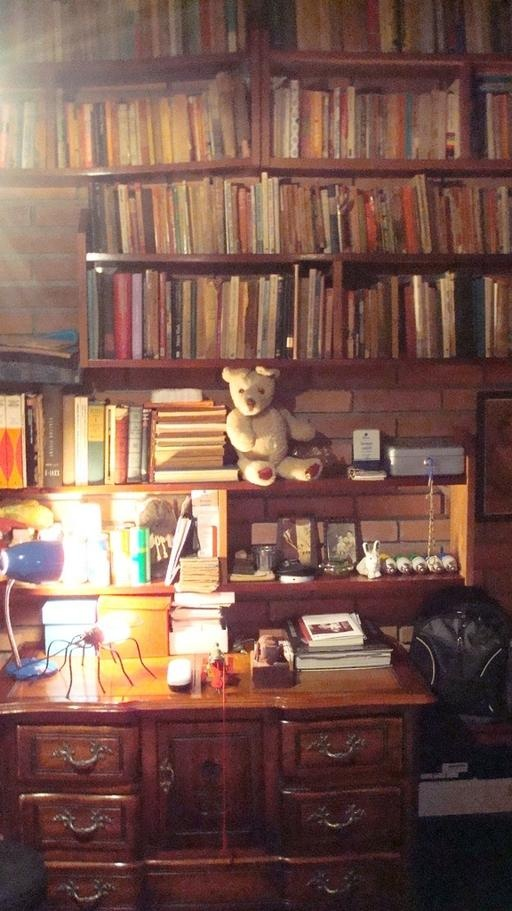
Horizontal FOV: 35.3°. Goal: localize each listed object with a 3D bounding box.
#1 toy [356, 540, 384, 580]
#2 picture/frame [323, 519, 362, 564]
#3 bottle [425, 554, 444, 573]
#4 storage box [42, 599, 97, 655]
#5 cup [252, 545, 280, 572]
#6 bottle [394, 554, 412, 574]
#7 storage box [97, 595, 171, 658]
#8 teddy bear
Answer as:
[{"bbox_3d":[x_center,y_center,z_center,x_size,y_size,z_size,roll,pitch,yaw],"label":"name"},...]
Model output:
[{"bbox_3d":[0.342,0.327,2.542,0.075,0.115,0.109,-2,-10,4],"label":"toy"},{"bbox_3d":[0.272,0.281,2.610,0.132,0.196,0.015,0,-3,-4],"label":"picture/frame"},{"bbox_3d":[0.558,0.337,2.507,0.034,0.052,0.018,-1,-16,1],"label":"bottle"},{"bbox_3d":[-0.582,0.521,2.541,0.160,0.150,0.165,-1,-1,-6],"label":"storage box"},{"bbox_3d":[0.030,0.321,2.506,0.085,0.082,0.052,-1,-1,-3],"label":"cup"},{"bbox_3d":[0.466,0.340,2.518,0.029,0.026,0.081,14,11,5],"label":"bottle"},{"bbox_3d":[-0.362,0.494,2.335,0.186,0.174,0.192,0,0,-2],"label":"storage box"},{"bbox_3d":[0.045,-0.098,2.438,0.255,0.365,0.255,-7,11,-7],"label":"teddy bear"}]
